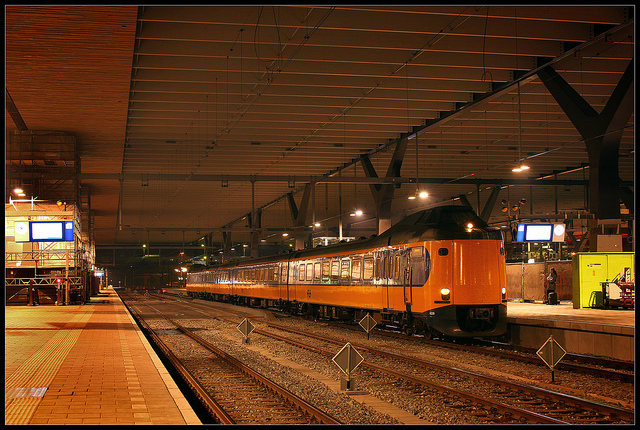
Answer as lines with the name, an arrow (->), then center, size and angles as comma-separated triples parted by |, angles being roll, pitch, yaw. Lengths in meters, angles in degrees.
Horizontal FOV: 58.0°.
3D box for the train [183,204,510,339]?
train -> -4.120, 5.428, 42.204 | 5.071, 4.491, 52.250 | 0, -8, -19
